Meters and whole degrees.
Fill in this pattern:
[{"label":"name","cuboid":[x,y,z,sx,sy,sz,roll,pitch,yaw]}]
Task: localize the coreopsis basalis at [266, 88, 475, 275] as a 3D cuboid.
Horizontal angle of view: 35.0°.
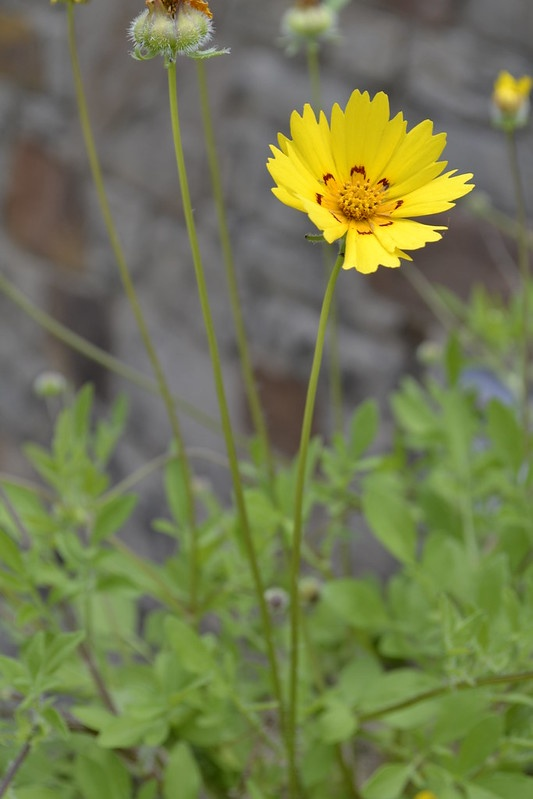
[{"label":"coreopsis basalis","cuboid":[0.026,-0.052,0.201,0.041,0.032,0.046,13,40,19]}]
